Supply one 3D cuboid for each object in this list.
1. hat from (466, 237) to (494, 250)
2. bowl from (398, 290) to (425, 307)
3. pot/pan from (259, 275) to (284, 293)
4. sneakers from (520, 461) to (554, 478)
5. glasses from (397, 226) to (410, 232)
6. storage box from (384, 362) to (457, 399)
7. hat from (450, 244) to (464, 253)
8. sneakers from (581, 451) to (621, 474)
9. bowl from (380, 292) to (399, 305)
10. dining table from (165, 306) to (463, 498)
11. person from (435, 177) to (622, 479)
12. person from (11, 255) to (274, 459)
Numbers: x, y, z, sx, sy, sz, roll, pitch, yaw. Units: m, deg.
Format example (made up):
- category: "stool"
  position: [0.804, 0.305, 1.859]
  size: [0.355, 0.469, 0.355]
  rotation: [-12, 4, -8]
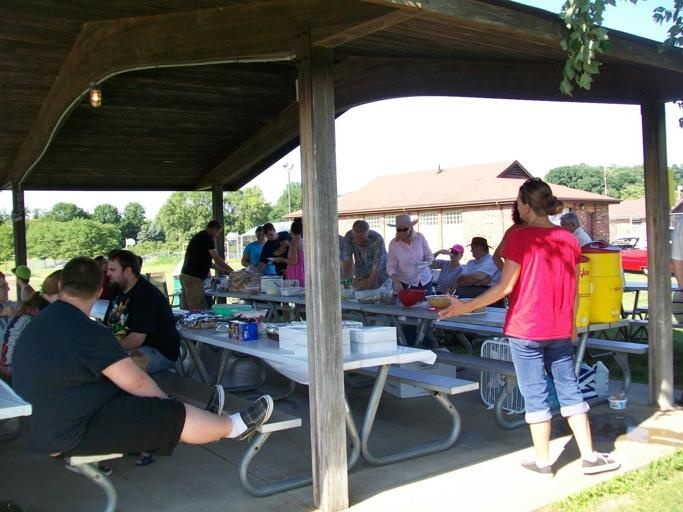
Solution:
- category: "hat"
  position: [1.819, -0.170, 6.890]
  size: [0.219, 0.071, 0.180]
  rotation: [10, 1, -3]
- category: "bowl"
  position: [0.732, 0.431, 5.468]
  size: [0.251, 0.170, 0.280]
  rotation: [-3, 2, 5]
- category: "pot/pan"
  position: [-0.974, 0.400, 7.530]
  size: [0.259, 0.180, 0.274]
  rotation: [2, -3, -36]
- category: "sneakers"
  position: [1.336, 1.456, 3.582]
  size: [0.074, 0.069, 0.211]
  rotation: [-7, 9, -39]
- category: "glasses"
  position: [0.799, -0.350, 6.793]
  size: [0.174, 0.056, 0.148]
  rotation: [-2, 2, 5]
- category: "storage box"
  position: [0.805, 1.277, 5.375]
  size: [0.617, 0.340, 0.607]
  rotation: [-4, 6, -38]
- category: "hat"
  position: [1.813, -0.107, 8.263]
  size: [0.154, 0.108, 0.214]
  rotation: [12, -9, 40]
- category: "sneakers"
  position: [1.736, 1.401, 3.579]
  size: [0.332, 0.123, 0.120]
  rotation: [-4, -1, -19]
- category: "bowl"
  position: [0.516, 0.457, 5.786]
  size: [0.168, 0.087, 0.145]
  rotation: [1, 10, -1]
- category: "dining table"
  position: [-0.327, 1.029, 4.587]
  size: [1.469, 0.483, 2.284]
  rotation: [17, -12, -33]
- category: "person"
  position: [1.341, 0.480, 3.557]
  size: [0.980, 2.022, 0.304]
  rotation: [-3, 2, -5]
- category: "person"
  position: [-1.267, 0.668, 3.351]
  size: [1.058, 0.994, 1.546]
  rotation: [-4, -12, 28]
